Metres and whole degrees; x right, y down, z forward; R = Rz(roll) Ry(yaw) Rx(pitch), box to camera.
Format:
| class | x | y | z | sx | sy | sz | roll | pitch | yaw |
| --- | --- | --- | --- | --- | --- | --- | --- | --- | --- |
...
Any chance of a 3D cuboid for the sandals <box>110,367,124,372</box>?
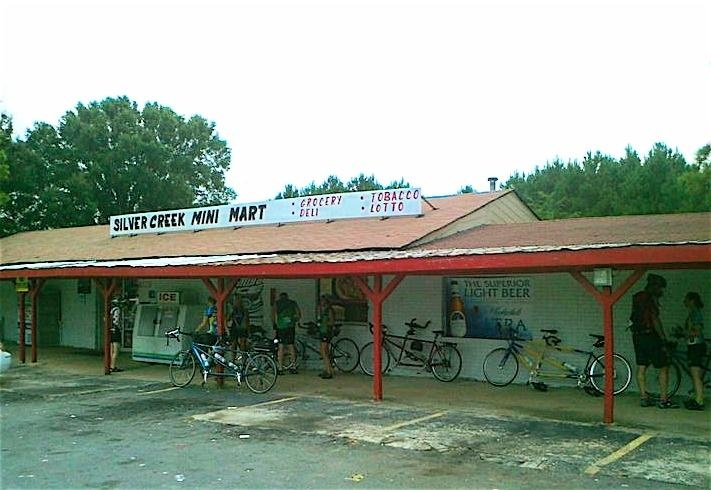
| class | x | y | z | sx | sy | sz | roll | pitch | yaw |
| --- | --- | --- | --- | --- | --- | --- | --- | --- | --- |
| sandals | -6.442 | 3.312 | 17.706 | 0.272 | 0.089 | 0.084 | -1 | -2 | 7 |

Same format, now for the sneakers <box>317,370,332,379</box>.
| class | x | y | z | sx | sy | sz | roll | pitch | yaw |
| --- | --- | --- | --- | --- | --- | --- | --- | --- | --- |
| sneakers | -0.770 | 3.245 | 16.588 | 0.293 | 0.112 | 0.165 | -8 | -11 | 44 |

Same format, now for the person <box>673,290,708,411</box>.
| class | x | y | z | sx | sy | sz | roll | pitch | yaw |
| --- | --- | --- | --- | --- | --- | --- | --- | --- | --- |
| person | 6.905 | 2.094 | 13.441 | 0.425 | 2.326 | 1.214 | -3 | -9 | 28 |

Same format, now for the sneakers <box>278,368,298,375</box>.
| class | x | y | z | sx | sy | sz | roll | pitch | yaw |
| --- | --- | --- | --- | --- | --- | --- | --- | --- | --- |
| sneakers | -1.754 | 3.292 | 17.338 | 0.365 | 0.098 | 0.207 | 5 | -8 | -13 |

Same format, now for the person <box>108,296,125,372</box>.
| class | x | y | z | sx | sy | sz | roll | pitch | yaw |
| --- | --- | --- | --- | --- | --- | --- | --- | --- | --- |
| person | -6.361 | 2.345 | 17.539 | 0.371 | 1.948 | 0.928 | 4 | -9 | -18 |

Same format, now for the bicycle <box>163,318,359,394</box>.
| class | x | y | z | sx | sy | sz | roll | pitch | yaw |
| --- | --- | --- | --- | --- | --- | --- | --- | --- | --- |
| bicycle | -2.900 | 2.741 | 15.507 | 2.682 | 1.172 | 1.322 | 6 | -7 | 20 |
